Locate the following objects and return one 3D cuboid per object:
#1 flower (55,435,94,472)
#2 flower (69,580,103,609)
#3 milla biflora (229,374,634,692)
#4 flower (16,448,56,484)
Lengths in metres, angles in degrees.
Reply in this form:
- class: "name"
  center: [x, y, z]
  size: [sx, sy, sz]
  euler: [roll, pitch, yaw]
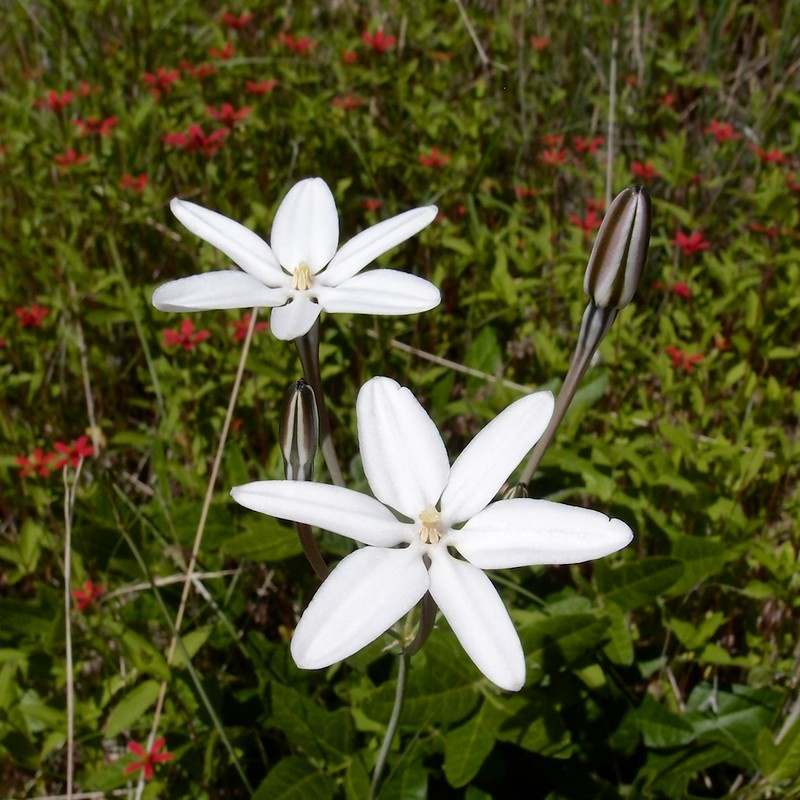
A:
- class: "flower"
  center: [-0.793, 0.120, 2.412]
  size: [0.082, 0.098, 0.045]
  euler: [15, 12, 10]
- class: "flower"
  center: [-0.743, 0.464, 2.351]
  size: [0.060, 0.032, 0.070]
  euler: [7, 68, 40]
- class: "milla biflora"
  center: [0.048, 0.220, 1.688]
  size: [0.589, 0.219, 0.520]
  euler: [-31, 50, -25]
- class: "flower"
  center: [-0.889, 0.157, 2.422]
  size: [0.069, 0.085, 0.020]
  euler: [16, 12, -3]
